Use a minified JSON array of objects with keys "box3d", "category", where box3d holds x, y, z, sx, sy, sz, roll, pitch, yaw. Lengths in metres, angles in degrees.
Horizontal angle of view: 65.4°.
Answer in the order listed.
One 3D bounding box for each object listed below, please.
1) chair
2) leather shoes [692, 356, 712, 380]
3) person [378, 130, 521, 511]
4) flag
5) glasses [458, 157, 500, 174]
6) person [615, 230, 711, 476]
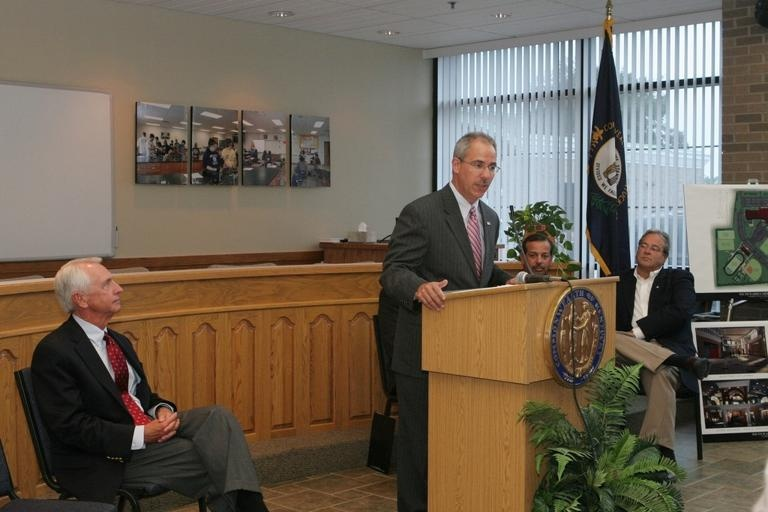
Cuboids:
[{"box3d":[-1.559,0.997,3.252,0.679,0.840,0.397,0,4,6],"category":"chair"},{"box3d":[2.457,0.881,4.632,0.153,0.169,0.069,6,12,41],"category":"leather shoes"},{"box3d":[0.345,0.404,3.486,0.727,2.214,0.569,0,4,-3],"category":"person"},{"box3d":[2.732,-1.317,7.244,0.497,3.090,0.456,1,4,19],"category":"flag"},{"box3d":[0.591,-0.514,3.456,0.156,0.070,0.292,4,6,44],"category":"glasses"},{"box3d":[2.285,0.691,5.026,0.637,1.809,1.188,1,4,23],"category":"person"}]
